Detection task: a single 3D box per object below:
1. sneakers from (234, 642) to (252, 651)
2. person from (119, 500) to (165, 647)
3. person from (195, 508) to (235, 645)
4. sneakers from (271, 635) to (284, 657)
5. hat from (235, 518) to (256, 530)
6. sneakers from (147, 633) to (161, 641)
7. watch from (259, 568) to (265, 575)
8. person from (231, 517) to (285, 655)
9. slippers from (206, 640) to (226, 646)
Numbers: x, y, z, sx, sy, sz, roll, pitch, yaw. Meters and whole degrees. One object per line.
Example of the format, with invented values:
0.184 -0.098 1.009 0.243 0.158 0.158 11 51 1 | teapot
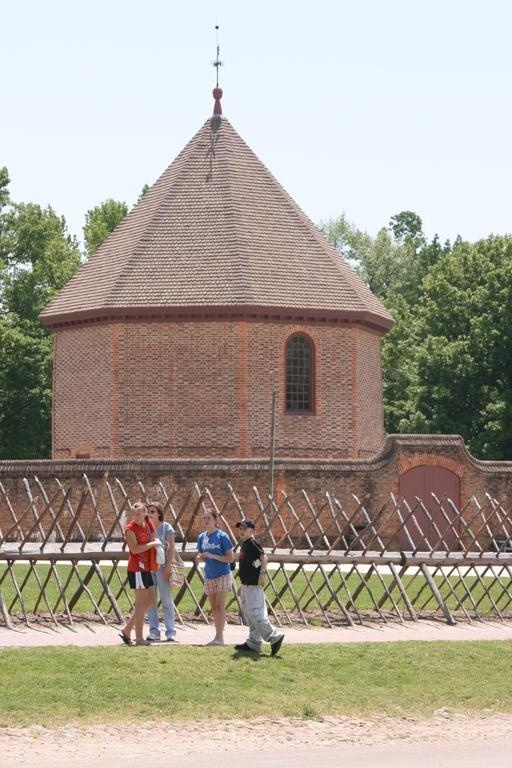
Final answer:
-0.173 2.980 19.156 0.070 0.098 0.196 8 -5 -37 | sneakers
-1.350 2.219 19.673 0.430 1.667 1.066 1 2 -5 | person
-0.498 2.300 19.997 0.413 1.631 1.008 1 2 -1 | person
0.212 2.921 19.051 0.081 0.306 0.114 -3 -33 28 | sneakers
-0.134 1.598 19.559 0.117 0.110 0.172 -8 -25 41 | hat
-1.231 3.006 20.072 0.063 0.082 0.179 2 1 -36 | sneakers
0.051 2.158 19.451 0.053 0.108 0.061 -1 -3 17 | watch
-0.007 2.626 21.524 0.674 1.922 0.625 1 -37 -3 | person
-0.481 3.010 19.587 0.066 0.095 0.212 -3 -11 29 | slippers
